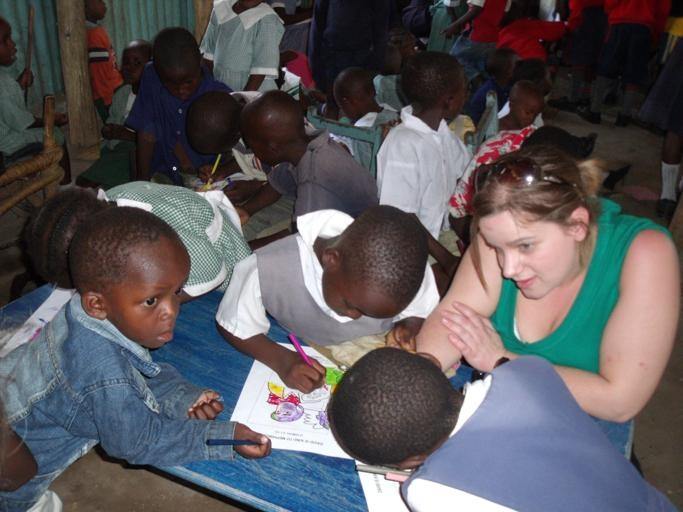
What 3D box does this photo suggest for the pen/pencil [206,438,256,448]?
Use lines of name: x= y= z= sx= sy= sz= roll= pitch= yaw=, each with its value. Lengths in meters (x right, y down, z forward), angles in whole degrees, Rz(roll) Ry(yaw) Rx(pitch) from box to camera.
pen/pencil: x=-0.359 y=0.601 z=1.796 sx=0.136 sy=0.023 sz=0.019 roll=4 pitch=8 yaw=-10
